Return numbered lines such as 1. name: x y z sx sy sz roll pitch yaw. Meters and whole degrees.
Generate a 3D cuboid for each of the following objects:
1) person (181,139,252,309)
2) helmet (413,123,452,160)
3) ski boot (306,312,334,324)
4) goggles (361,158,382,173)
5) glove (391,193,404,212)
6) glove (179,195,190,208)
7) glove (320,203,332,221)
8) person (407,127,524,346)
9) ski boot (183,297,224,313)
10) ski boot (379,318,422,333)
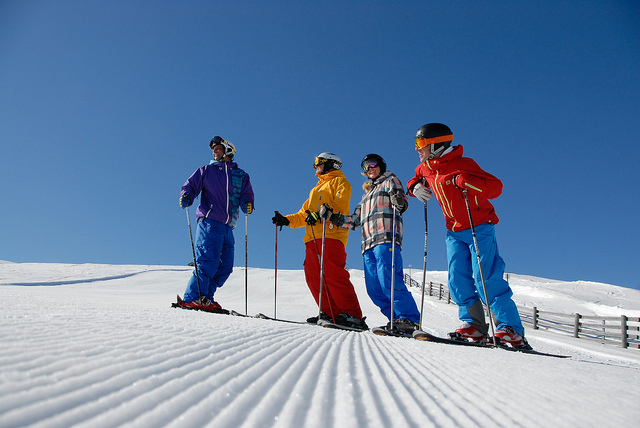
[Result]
1. person: -1.265 0.078 6.062 0.522 2.033 0.927 0 -3 34
2. helmet: 1.159 -0.722 5.155 0.424 0.404 0.331 0 0 -7
3. ski boot: 0.003 1.120 5.590 0.313 0.145 0.107 17 -24 -27
4. goggles: 0.602 -0.569 5.920 0.230 0.157 0.110 1 -2 22
5. glove: 0.781 -0.115 5.101 0.096 0.175 0.050 0 2 19
6. glove: -1.405 -0.131 5.267 0.100 0.149 0.052 1 -10 -8
7. glove: 0.060 -0.029 5.569 0.109 0.169 0.067 7 -2 -10
8. person: 1.397 0.143 4.849 0.472 1.999 1.143 4 -3 -39
9. ski boot: -1.320 1.011 5.735 0.493 0.241 0.171 2 -3 -6
10. ski boot: 0.783 1.072 4.906 0.381 0.179 0.134 9 -20 -4
